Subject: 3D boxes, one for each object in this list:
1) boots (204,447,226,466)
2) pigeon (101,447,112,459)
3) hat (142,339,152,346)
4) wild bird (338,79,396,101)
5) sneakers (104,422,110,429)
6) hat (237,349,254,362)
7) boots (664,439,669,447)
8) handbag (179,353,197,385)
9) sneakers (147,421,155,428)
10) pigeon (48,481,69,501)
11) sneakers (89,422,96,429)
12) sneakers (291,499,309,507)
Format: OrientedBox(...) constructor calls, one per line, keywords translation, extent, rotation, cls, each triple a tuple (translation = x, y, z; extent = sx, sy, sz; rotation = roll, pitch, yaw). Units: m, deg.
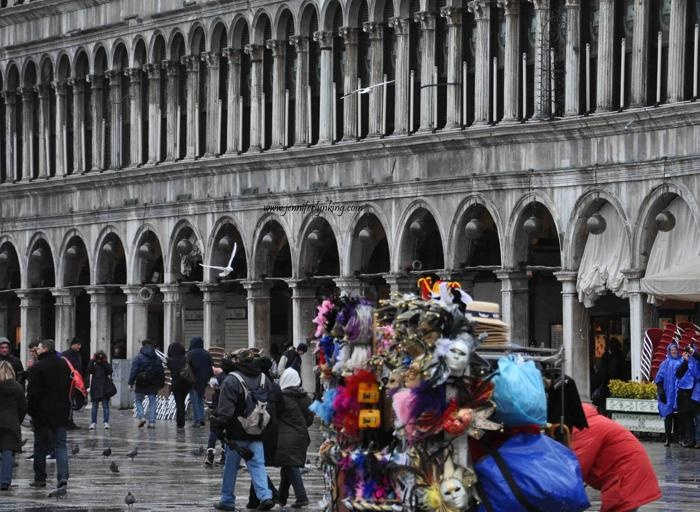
OrientedBox(translation=(-2.760, 4.014, 43.455), extent=(0.289, 0.343, 0.842), rotation=(2, -1, -7), cls="boots")
OrientedBox(translation=(-4.925, 3.949, 43.585), extent=(0.182, 0.229, 0.362), rotation=(0, -12, -25), cls="pigeon")
OrientedBox(translation=(-4.834, 2.031, 50.825), extent=(0.163, 0.117, 0.181), rotation=(4, -12, -17), cls="hat")
OrientedBox(translation=(0.455, -4.386, 56.703), extent=(0.827, 0.381, 2.008), rotation=(6, -11, -42), cls="wild bird")
OrientedBox(translation=(-5.824, 3.989, 51.037), extent=(0.183, 0.211, 0.490), rotation=(-1, 3, -7), cls="sneakers")
OrientedBox(translation=(-1.872, 1.791, 38.825), extent=(0.198, 0.231, 0.266), rotation=(0, -25, -39), cls="hat")
OrientedBox(translation=(6.797, 3.973, 45.847), extent=(0.078, 0.146, 0.134), rotation=(-2, -26, 5), cls="boots")
OrientedBox(translation=(-3.815, 2.625, 49.935), extent=(0.302, 0.796, 0.596), rotation=(-3, -12, 10), cls="handbag")
OrientedBox(translation=(-4.743, 3.954, 50.819), extent=(0.157, 0.140, 0.149), rotation=(1, 1, -12), cls="sneakers")
OrientedBox(translation=(-5.379, 4.259, 39.443), extent=(0.399, 0.283, 0.219), rotation=(-10, -8, 35), cls="pigeon")
OrientedBox(translation=(-6.164, 4.003, 50.984), extent=(0.115, 0.134, 0.329), rotation=(0, 0, -3), cls="sneakers")
OrientedBox(translation=(-0.909, 4.431, 38.731), extent=(0.318, 0.130, 0.115), rotation=(-17, -19, 37), cls="sneakers")
